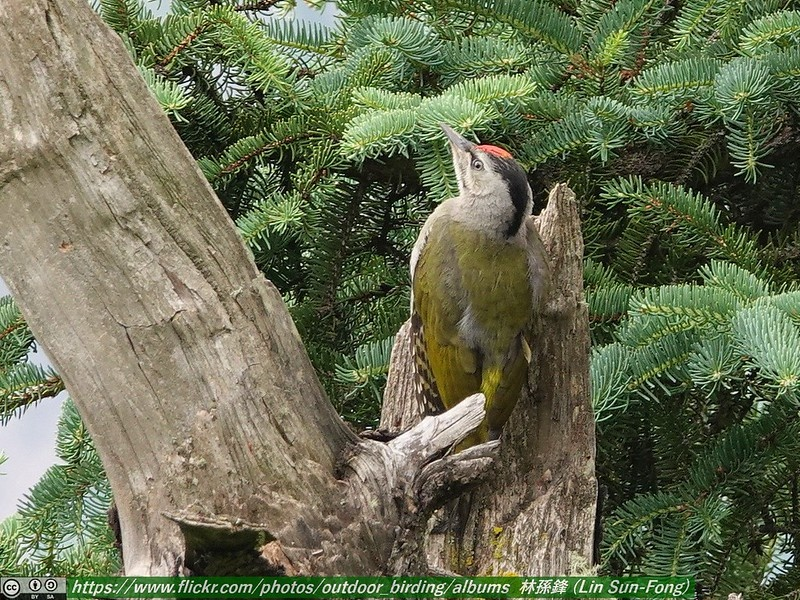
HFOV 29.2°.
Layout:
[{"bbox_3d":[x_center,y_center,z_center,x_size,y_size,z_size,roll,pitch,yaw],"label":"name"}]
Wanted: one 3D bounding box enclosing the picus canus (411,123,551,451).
[{"bbox_3d":[0.294,-0.059,6.176,0.439,1.369,0.747,9,-1,13],"label":"picus canus"}]
